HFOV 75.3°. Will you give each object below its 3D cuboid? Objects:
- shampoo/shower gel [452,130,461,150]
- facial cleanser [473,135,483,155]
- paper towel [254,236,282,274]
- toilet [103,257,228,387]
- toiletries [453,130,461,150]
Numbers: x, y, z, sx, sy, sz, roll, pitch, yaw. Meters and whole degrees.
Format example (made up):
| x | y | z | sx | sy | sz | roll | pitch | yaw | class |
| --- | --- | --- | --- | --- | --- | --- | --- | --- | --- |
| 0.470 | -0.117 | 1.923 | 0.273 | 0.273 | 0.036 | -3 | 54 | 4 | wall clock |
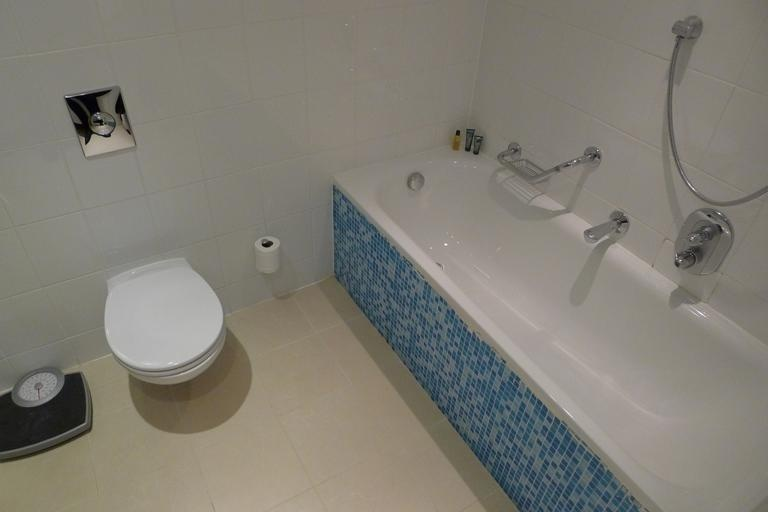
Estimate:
| x | y | z | sx | sy | sz | roll | pitch | yaw | class |
| --- | --- | --- | --- | --- | --- | --- | --- | --- | --- |
| 0.465 | -0.742 | 3.191 | 0.056 | 0.121 | 0.076 | -2 | 33 | 12 | shampoo/shower gel |
| 0.603 | -0.705 | 3.169 | 0.085 | 0.110 | 0.035 | -26 | 36 | -23 | facial cleanser |
| -0.654 | 0.002 | 2.902 | 0.170 | 0.207 | 0.182 | -4 | 47 | -9 | paper towel |
| -1.088 | 0.336 | 2.517 | 0.539 | 0.278 | 0.757 | -12 | 36 | -22 | toilet |
| 0.465 | -0.742 | 3.191 | 0.056 | 0.121 | 0.076 | -2 | 33 | 12 | toiletries |
